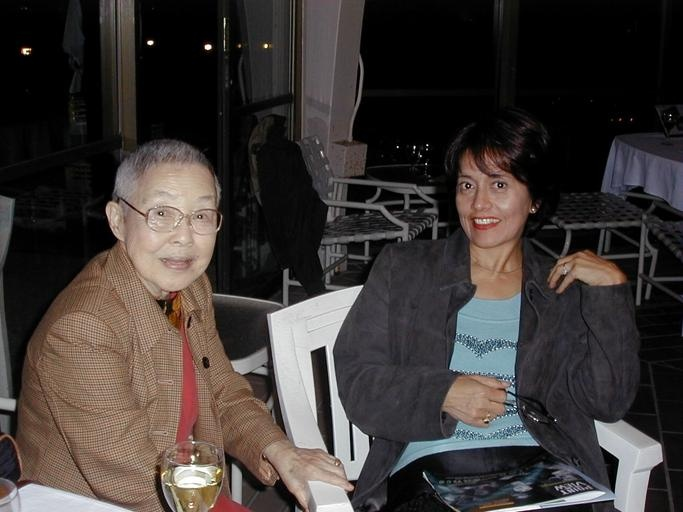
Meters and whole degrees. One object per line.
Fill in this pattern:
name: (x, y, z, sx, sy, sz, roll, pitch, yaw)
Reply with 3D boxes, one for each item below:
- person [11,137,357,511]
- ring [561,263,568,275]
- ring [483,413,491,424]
person: (-0.509, 0.103, 1.811, 1.068, 1.253, 0.765, 4, 11, 10)
ring: (0.710, 0.044, 1.743, 0.020, 0.034, 0.024, 2, 11, 8)
ring: (0.419, 0.486, 1.596, 0.022, 0.032, 0.009, 5, -30, 21)
